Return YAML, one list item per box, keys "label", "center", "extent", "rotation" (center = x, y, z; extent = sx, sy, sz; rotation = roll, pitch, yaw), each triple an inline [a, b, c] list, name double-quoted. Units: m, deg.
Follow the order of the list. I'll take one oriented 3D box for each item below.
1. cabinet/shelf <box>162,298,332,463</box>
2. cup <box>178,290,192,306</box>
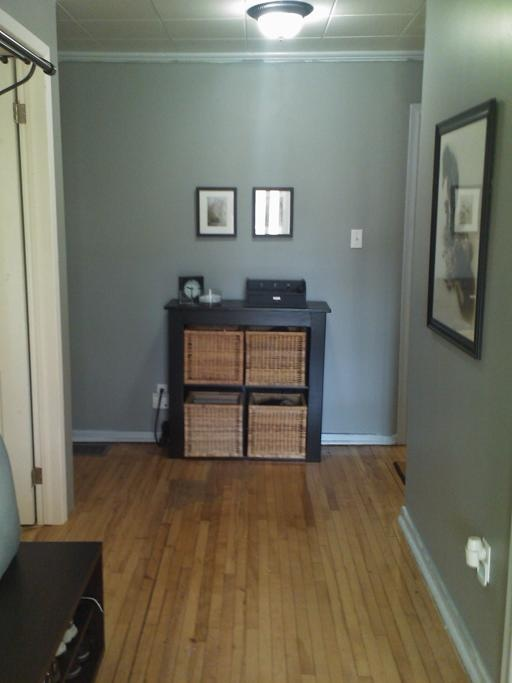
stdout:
- label: "cabinet/shelf"
  center: [-0.059, 0.230, 3.083]
  extent: [0.672, 0.917, 0.310]
  rotation: [0, 6, 1]
- label: "cup"
  center: [-0.425, -0.259, 3.143]
  extent: [0.065, 0.088, 0.043]
  rotation: [2, 17, 11]
